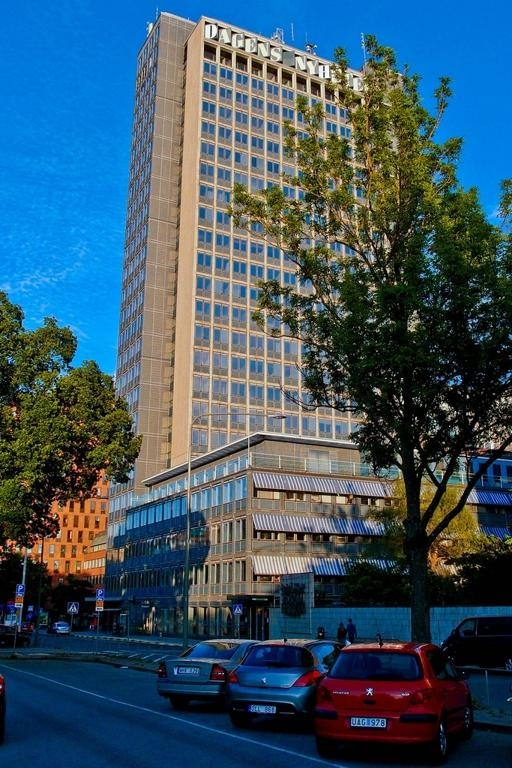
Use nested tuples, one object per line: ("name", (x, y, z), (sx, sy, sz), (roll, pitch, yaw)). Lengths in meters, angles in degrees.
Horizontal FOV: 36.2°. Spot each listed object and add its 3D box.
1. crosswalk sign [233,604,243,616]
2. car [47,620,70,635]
("crosswalk sign", (-0.905, 10.834, 37.896), (0.376, 0.435, 1.330), (5, -12, 7))
("car", (-20.002, 24.928, 79.989), (1.130, 1.244, 2.988), (13, -14, -30))
